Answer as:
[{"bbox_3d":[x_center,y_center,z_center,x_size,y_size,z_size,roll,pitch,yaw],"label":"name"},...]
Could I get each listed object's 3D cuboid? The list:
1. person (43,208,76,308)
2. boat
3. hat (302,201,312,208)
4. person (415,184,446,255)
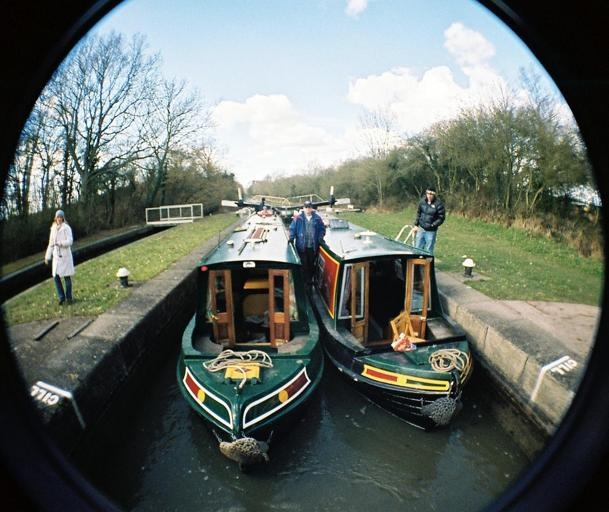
[{"bbox_3d":[-5.058,-0.002,9.108,0.516,1.879,1.025,-5,8,-30],"label":"person"},{"bbox_3d":[0.372,1.392,7.116,2.209,1.581,4.903,-2,19,-3],"label":"boat"},{"bbox_3d":[0.061,-1.097,9.283,0.199,0.149,0.365,0,8,2],"label":"hat"},{"bbox_3d":[2.797,-0.656,10.060,0.610,1.925,0.474,16,34,30],"label":"person"}]
